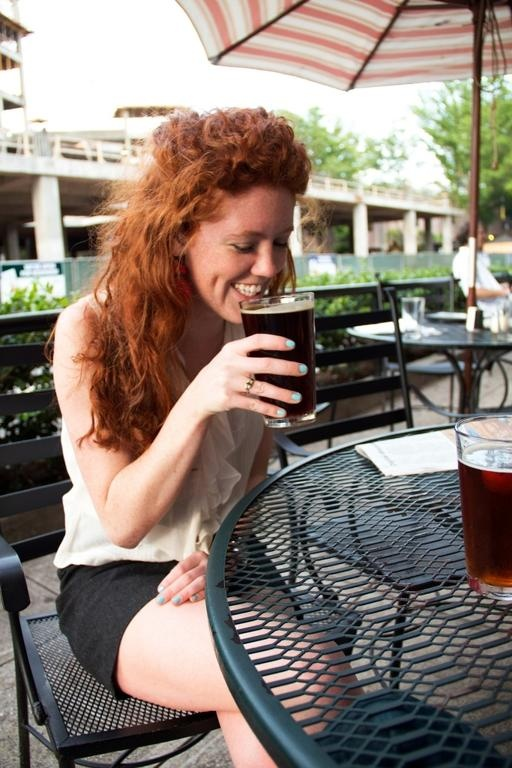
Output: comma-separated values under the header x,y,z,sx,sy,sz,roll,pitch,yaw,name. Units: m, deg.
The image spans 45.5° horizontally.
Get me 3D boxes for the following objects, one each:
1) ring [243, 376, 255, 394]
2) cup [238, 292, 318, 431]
x,y,z,sx,sy,sz,roll,pitch,yaw,name
-0.011,0.002,0.995,0.016,0.023,0.024,29,32,17,ring
0.039,-0.038,1.048,0.125,0.226,0.198,-3,8,5,cup
